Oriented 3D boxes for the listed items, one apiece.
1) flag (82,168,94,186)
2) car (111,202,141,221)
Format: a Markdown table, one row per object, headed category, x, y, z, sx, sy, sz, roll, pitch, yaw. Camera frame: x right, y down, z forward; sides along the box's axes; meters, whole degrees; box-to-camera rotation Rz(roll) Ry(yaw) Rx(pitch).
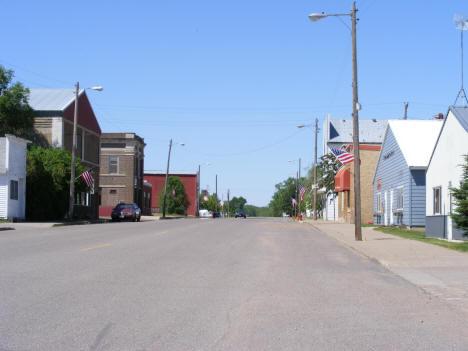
| category | x | y | z | sx | sy | sz | roll | pitch | yaw |
| --- | --- | --- | --- | --- | --- | --- | --- | --- | --- |
| flag | -11.357 | 0.123 | 43.334 | 0.253 | 1.537 | 1.380 | -18 | -17 | 18 |
| car | -9.397 | 3.213 | 48.550 | 1.900 | 1.565 | 2.414 | -1 | -2 | 5 |
